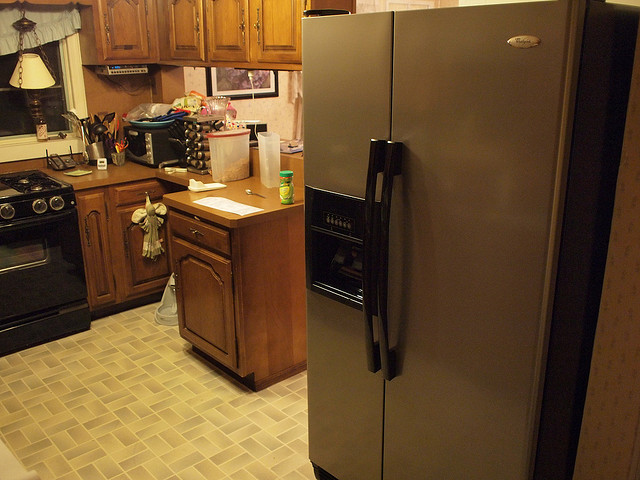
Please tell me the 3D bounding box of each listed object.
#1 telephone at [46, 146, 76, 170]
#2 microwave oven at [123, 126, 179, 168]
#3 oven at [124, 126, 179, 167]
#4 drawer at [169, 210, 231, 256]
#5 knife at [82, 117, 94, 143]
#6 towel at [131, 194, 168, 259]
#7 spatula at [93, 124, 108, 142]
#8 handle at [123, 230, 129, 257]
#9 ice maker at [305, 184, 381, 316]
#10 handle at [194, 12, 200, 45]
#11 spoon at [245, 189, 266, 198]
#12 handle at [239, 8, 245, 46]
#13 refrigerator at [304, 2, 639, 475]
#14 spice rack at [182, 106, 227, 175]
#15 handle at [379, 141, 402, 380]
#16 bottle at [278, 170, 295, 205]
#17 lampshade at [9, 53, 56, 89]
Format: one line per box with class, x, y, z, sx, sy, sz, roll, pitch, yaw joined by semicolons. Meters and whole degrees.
telephone;-2.063;-0.650;4.090;0.198;0.131;0.225;-15;27;-26
microwave oven;-1.336;-0.858;4.134;0.331;0.326;0.493;-15;24;-42
oven;-1.381;-0.782;4.187;0.421;0.274;0.264;19;28;38
drawer;-0.745;-0.052;3.139;0.657;0.152;0.030;20;31;40
knife;-1.870;-0.902;4.164;0.049;0.234;0.039;-10;9;-8
towel;-1.324;-0.118;3.956;0.106;0.624;0.341;18;27;36
spatula;-1.789;-0.871;4.175;0.086;0.141;0.024;-2;9;-21
handle;-1.482;0.028;3.932;0.034;0.199;0.029;-14;25;-27
ice maker;0.180;0.016;2.232;0.303;0.568;0.402;-12;19;-39
handle;-0.868;-1.512;3.666;0.035;0.201;0.061;-9;23;-15
spoon;-0.427;-0.303;3.317;0.072;0.021;0.233;-15;27;-27
handle;-0.489;-1.361;3.266;0.029;0.204;0.063;-9;24;-17
refrigerator;0.479;0.198;2.041;1.155;2.051;0.492;14;27;33
spice rack;-0.863;-0.752;3.847;0.245;0.424;0.250;-12;24;-31
handle;0.252;0.081;1.951;0.088;0.777;0.114;-10;23;-25
bottle;-0.207;-0.340;3.139;0.089;0.212;0.200;-4;23;-4
lampshade;-2.169;-1.250;3.959;0.268;0.273;0.237;29;23;15
